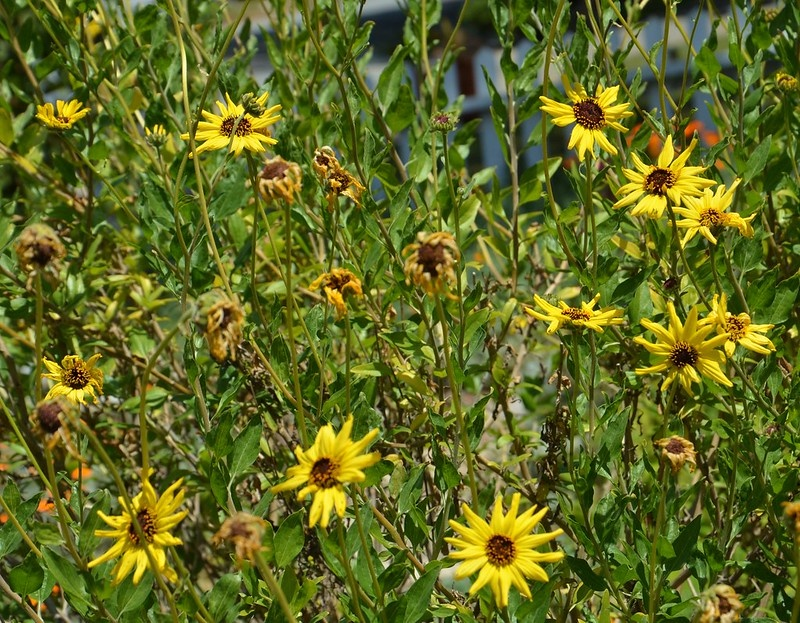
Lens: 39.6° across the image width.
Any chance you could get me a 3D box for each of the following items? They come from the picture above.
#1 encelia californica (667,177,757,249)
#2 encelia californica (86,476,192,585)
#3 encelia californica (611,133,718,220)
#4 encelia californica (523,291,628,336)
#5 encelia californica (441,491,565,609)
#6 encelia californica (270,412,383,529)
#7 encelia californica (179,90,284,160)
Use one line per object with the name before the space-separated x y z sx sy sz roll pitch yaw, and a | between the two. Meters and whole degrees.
encelia californica | 0.746 -0.239 2.695 0.163 0.085 0.197 33 92 11
encelia californica | -0.564 0.483 2.437 0.237 0.127 0.329 -10 24 -8
encelia californica | 0.622 -0.314 2.601 0.162 0.083 0.250 -2 76 8
encelia californica | 0.410 0.007 2.543 0.119 0.055 0.139 8 21 -20
encelia californica | 0.184 0.506 2.330 0.222 0.113 0.279 1 5 -1
encelia californica | -0.148 0.336 2.278 0.276 0.083 0.224 -29 23 -35
encelia californica | -0.413 -0.504 2.652 0.170 0.067 0.222 13 61 32
